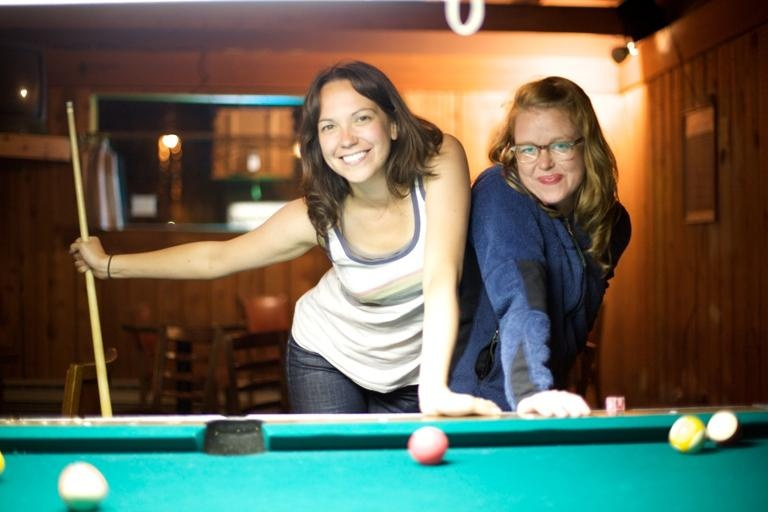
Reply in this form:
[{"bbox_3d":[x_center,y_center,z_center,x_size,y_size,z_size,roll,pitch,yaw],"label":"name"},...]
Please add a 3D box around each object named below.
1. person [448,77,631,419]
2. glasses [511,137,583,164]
[{"bbox_3d":[0.806,-0.109,4.164,0.622,1.830,0.736,0,-23,20],"label":"person"},{"bbox_3d":[0.776,-0.495,4.078,0.346,0.115,0.080,-2,-2,12],"label":"glasses"}]
